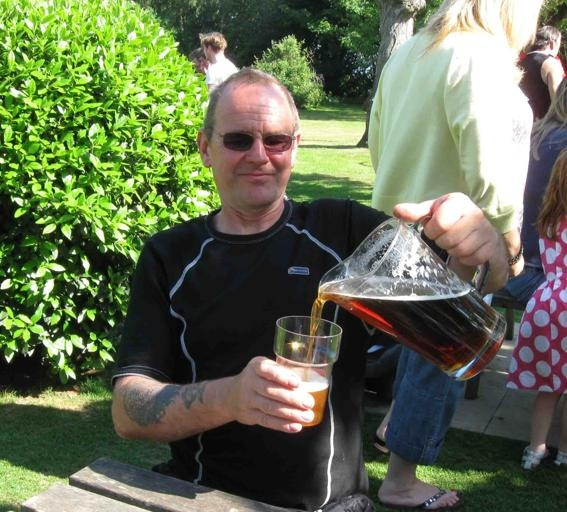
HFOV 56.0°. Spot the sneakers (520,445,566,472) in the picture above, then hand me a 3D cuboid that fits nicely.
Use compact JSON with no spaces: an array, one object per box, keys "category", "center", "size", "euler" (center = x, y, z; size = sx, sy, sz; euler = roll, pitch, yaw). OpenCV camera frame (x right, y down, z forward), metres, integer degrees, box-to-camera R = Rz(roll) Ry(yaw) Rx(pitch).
[{"category":"sneakers","center":[1.543,1.191,3.142],"size":[0.285,0.085,0.109],"euler":[2,-9,-33]}]

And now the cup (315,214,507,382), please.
[{"category":"cup","center":[0.362,0.106,1.458],"size":[0.498,0.414,0.304],"euler":[-1,14,-14]}]
